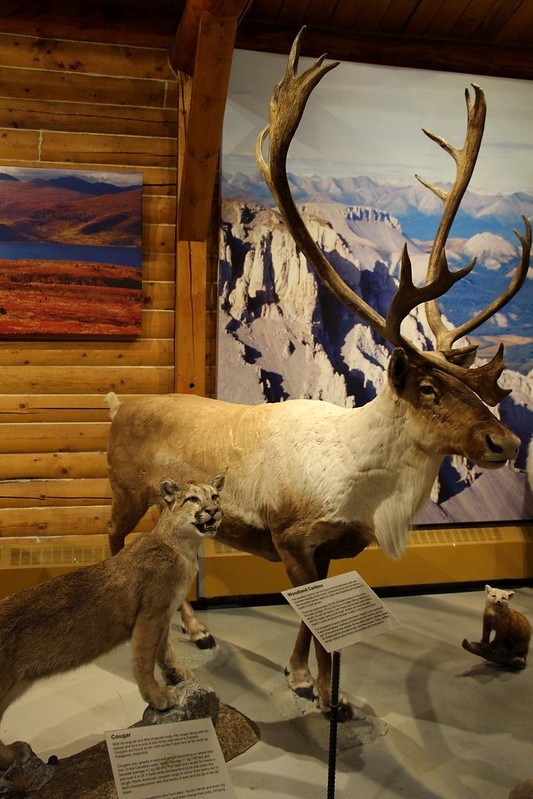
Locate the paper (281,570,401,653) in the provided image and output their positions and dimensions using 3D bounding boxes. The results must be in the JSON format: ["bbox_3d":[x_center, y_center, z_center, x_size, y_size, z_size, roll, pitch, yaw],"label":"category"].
[{"bbox_3d":[0.202,0.562,1.821,0.228,0.271,0.012,-17,29,12],"label":"paper"}]

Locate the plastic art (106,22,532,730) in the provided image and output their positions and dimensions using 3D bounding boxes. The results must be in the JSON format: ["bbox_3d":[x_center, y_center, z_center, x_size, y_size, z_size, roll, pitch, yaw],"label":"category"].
[{"bbox_3d":[0.187,-0.228,2.452,0.703,1.517,1.527,1,3,-44],"label":"plastic art"}]
